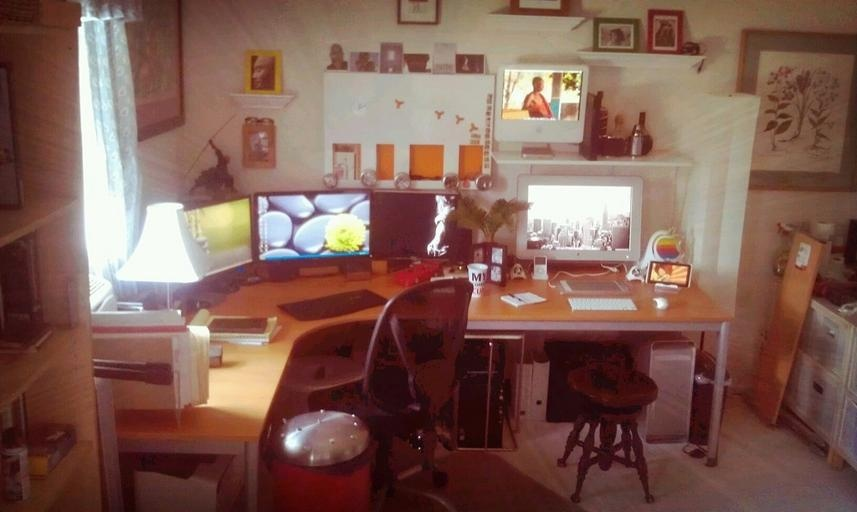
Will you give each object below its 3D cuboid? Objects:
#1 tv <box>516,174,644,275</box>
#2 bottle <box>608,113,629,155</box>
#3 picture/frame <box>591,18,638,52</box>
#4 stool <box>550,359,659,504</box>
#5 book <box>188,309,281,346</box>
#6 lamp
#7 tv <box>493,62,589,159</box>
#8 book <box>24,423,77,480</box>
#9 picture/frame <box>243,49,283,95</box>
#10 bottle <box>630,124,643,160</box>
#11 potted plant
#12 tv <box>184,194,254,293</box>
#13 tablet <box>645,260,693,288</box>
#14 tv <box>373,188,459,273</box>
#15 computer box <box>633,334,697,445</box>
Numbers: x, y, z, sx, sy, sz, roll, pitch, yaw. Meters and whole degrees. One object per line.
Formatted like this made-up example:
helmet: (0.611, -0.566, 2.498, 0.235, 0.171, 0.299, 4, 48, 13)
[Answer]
tv: (1.040, -0.246, 4.399, 0.826, 0.489, 0.084, 1, 6, -1)
bottle: (1.299, -0.816, 4.308, 0.148, 0.284, 0.180, 5, 15, 13)
picture/frame: (1.245, -1.456, 4.204, 0.277, 0.164, 0.010, -1, 11, 1)
stool: (1.104, 1.127, 3.914, 0.537, 0.557, 0.547, 1, -1, 13)
book: (-1.085, 0.399, 3.566, 0.361, 0.099, 0.229, 1, 12, -4)
lamp: (-1.412, -0.071, 3.352, 0.409, 0.390, 0.196, 3, 15, 8)
tv: (0.840, -0.993, 4.309, 0.737, 0.590, 0.679, 5, 29, 26)
book: (-1.563, 0.811, 2.648, 0.199, 0.057, 0.256, 5, 18, -14)
picture/frame: (-1.111, -1.224, 4.223, 0.371, 0.360, 0.026, 1, 12, -3)
bottle: (1.396, -0.762, 4.247, 0.067, 0.201, 0.062, 1, 15, 0)
potted plant: (0.402, -0.122, 4.485, 0.719, 0.599, 0.600, -2, 5, -9)
tv: (-1.295, -0.087, 3.882, 0.051, 0.394, 0.613, 1, 18, 35)
tablet: (1.596, 0.125, 4.224, 0.206, 0.128, 0.019, 8, -9, 13)
tv: (-0.085, -0.196, 4.392, 0.649, 0.459, 0.068, 0, -2, 18)
computer box: (1.526, 0.869, 4.300, 0.375, 0.614, 0.370, 4, 0, -14)
